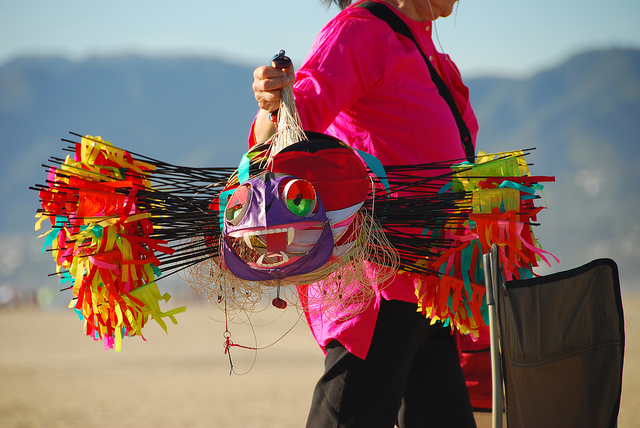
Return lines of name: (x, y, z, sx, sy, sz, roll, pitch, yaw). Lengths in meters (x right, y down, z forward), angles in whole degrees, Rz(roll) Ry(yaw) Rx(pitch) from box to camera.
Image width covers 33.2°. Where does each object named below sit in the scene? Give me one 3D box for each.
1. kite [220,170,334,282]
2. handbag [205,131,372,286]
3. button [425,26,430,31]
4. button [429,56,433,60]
kite: (-0.190, 0.058, 5.273, 0.532, 0.504, 0.293, -3, -16, 2)
handbag: (-0.188, -0.017, 5.463, 0.888, 0.757, 0.603, -6, -14, 19)
button: (0.571, -0.971, 5.620, 0.025, 0.023, 0.006, -1, 2, -31)
button: (0.590, -0.817, 5.612, 0.019, 0.017, 0.007, -1, 2, -45)
